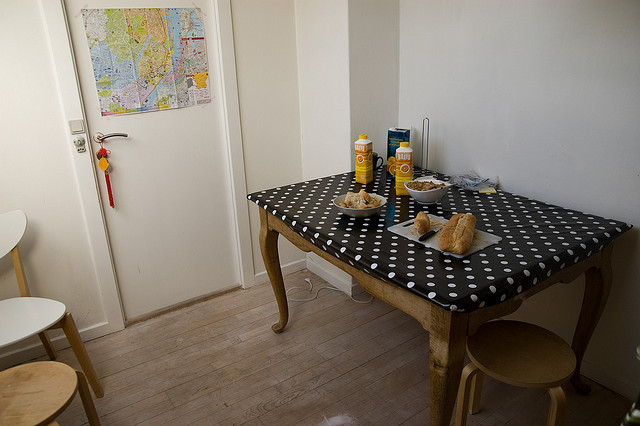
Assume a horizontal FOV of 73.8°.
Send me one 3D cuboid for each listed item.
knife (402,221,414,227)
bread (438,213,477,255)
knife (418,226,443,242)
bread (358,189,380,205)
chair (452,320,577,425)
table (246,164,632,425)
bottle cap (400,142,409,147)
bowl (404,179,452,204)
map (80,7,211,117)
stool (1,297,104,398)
[{"bbox_3d":[0.460,0.054,2.222,0.066,0.001,0.018,-24,46,-22],"label":"knife"},{"bbox_3d":[0.686,0.090,2.103,0.154,0.084,0.317,7,32,26],"label":"bread"},{"bbox_3d":[0.540,0.109,2.112,0.044,0.013,0.169,27,38,31],"label":"knife"},{"bbox_3d":[0.261,-0.085,2.347,0.076,0.022,0.073,34,2,-12],"label":"bread"},{"bbox_3d":[0.956,0.807,2.106,0.461,0.537,0.472,-9,35,-4],"label":"chair"},{"bbox_3d":[0.630,0.338,2.551,1.355,0.977,1.542,-19,24,-30],"label":"table"},{"bbox_3d":[0.510,-0.416,2.571,0.047,0.032,0.063,-3,21,8],"label":"bottle cap"},{"bbox_3d":[0.623,-0.114,2.482,0.291,0.113,0.267,0,8,0],"label":"bowl"},{"bbox_3d":[-1.199,-1.026,2.836,0.746,0.695,0.015,-13,26,-27],"label":"map"},{"bbox_3d":[-1.567,0.732,2.522,0.450,0.347,0.458,-3,30,-12],"label":"stool"}]
